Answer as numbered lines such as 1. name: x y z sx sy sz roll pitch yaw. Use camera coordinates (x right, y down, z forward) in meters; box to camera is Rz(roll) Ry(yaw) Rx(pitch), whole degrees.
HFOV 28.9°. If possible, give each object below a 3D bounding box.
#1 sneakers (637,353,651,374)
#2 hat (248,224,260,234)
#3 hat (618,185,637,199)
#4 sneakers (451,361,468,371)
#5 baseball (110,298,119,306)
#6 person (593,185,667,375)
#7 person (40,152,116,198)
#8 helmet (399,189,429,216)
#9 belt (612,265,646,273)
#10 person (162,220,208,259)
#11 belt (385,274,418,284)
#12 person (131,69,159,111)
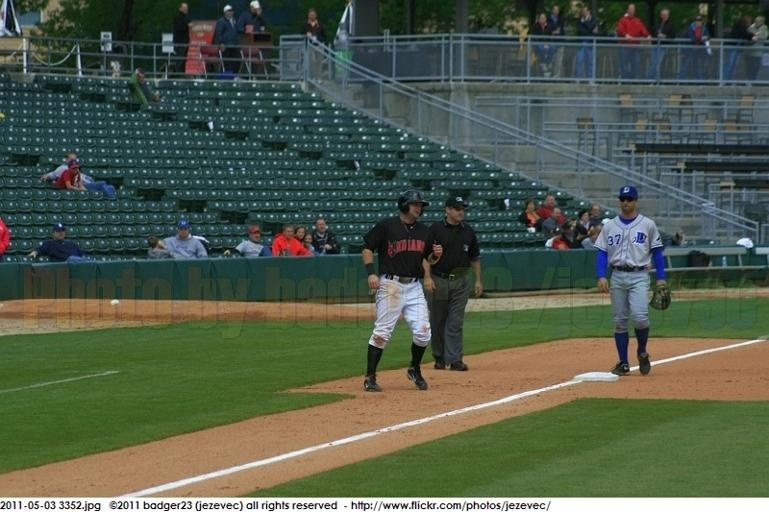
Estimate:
1. sneakers: 5.102 2.061 29.247 0.199 0.428 0.191 0 1 3
2. hat: -3.257 -0.711 36.894 0.236 0.180 0.357 3 -4 -28
3. hat: 4.808 -1.284 29.322 0.367 0.246 0.532 1 -6 26
4. sneakers: 1.494 2.151 29.944 0.350 0.175 0.181 0 5 -4
5. baseball: -6.274 1.018 34.559 0.151 0.110 0.144 1 9 -6
6. person: 4.780 0.456 29.192 1.326 3.646 0.818 1 5 7
7. person: -8.018 -2.170 39.043 1.934 1.042 0.965 8 12 8
8. helmet: 0.481 -1.092 28.748 0.573 0.403 0.424 5 1 33
9. belt: 4.784 0.212 29.111 0.666 0.149 0.176 1 5 7
10. person: -4.920 -0.369 36.165 1.278 0.942 0.723 -1 10 12
11. belt: 0.305 0.396 28.517 0.600 0.172 0.102 0 5 2
12. person: -6.876 -4.791 42.630 0.844 1.104 0.527 -3 6 -34
